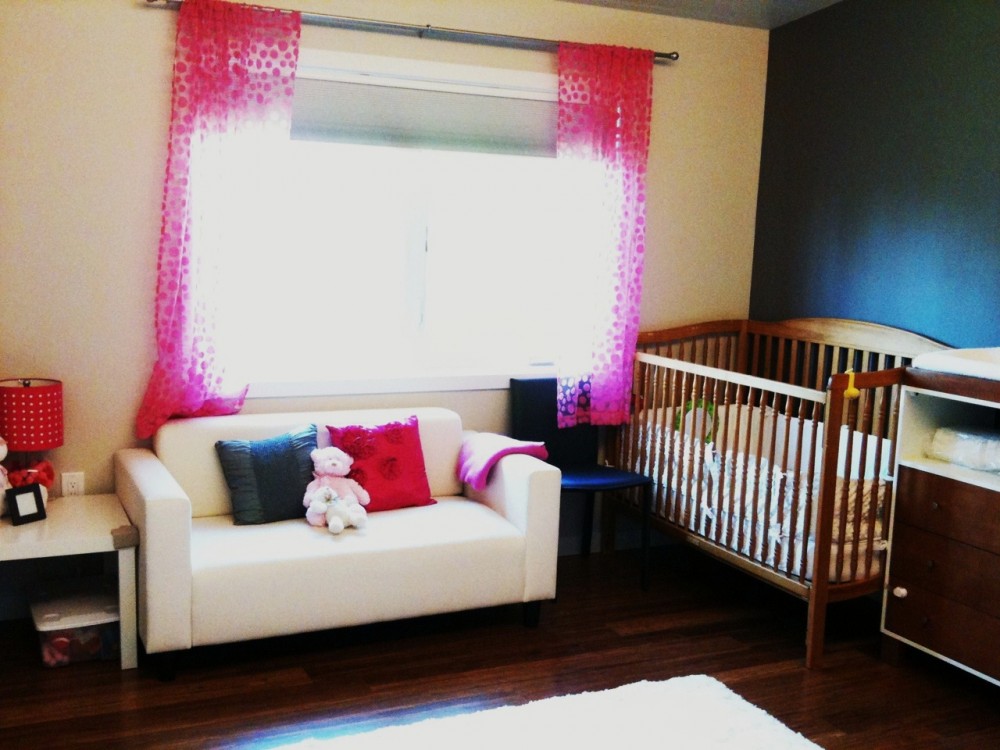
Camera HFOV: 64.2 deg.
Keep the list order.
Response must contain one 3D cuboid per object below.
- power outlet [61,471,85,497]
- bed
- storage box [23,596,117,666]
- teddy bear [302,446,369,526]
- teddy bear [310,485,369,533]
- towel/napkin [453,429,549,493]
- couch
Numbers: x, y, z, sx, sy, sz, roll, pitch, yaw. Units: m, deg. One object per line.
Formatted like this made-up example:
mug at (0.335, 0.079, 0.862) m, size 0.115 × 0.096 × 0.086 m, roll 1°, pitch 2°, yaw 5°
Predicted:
power outlet at (-1.931, 0.491, 3.576) m, size 0.110 × 0.131 × 0.018 m, roll 0°, pitch 2°, yaw -27°
bed at (1.359, 0.405, 4.067) m, size 1.228 × 1.160 × 1.596 m, roll -5°, pitch 13°, yaw -22°
storage box at (-1.711, 0.990, 3.219) m, size 0.235 × 0.129 × 0.296 m, roll -3°, pitch 8°, yaw -31°
teddy bear at (-0.714, 0.496, 3.482) m, size 0.262 × 0.362 × 0.309 m, roll -5°, pitch 7°, yaw -41°
teddy bear at (-0.716, 0.571, 3.445) m, size 0.232 × 0.146 × 0.281 m, roll -8°, pitch 29°, yaw -33°
towel/napkin at (0.000, 0.376, 3.808) m, size 0.324 × 0.118 × 0.320 m, roll -8°, pitch 14°, yaw -25°
couch at (-0.722, 0.618, 3.507) m, size 1.716 × 0.732 × 0.930 m, roll -4°, pitch 11°, yaw -27°
